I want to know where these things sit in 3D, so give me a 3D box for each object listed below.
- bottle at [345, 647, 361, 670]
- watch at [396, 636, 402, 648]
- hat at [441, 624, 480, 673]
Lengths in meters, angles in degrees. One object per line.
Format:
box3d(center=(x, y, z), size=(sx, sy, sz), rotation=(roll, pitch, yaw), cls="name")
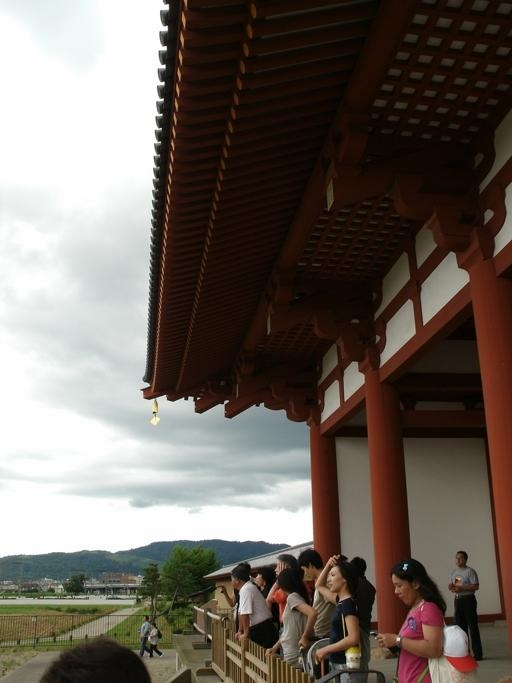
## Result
box3d(center=(0.484, 1.568, 2.694), size=(0.061, 0.095, 0.087), rotation=(-1, -20, 3), cls="bottle")
box3d(center=(0.631, 1.326, 2.395), size=(0.030, 0.051, 0.052), rotation=(2, -40, 15), cls="watch")
box3d(center=(0.862, 1.288, 2.309), size=(0.123, 0.109, 0.200), rotation=(6, 10, -20), cls="hat")
